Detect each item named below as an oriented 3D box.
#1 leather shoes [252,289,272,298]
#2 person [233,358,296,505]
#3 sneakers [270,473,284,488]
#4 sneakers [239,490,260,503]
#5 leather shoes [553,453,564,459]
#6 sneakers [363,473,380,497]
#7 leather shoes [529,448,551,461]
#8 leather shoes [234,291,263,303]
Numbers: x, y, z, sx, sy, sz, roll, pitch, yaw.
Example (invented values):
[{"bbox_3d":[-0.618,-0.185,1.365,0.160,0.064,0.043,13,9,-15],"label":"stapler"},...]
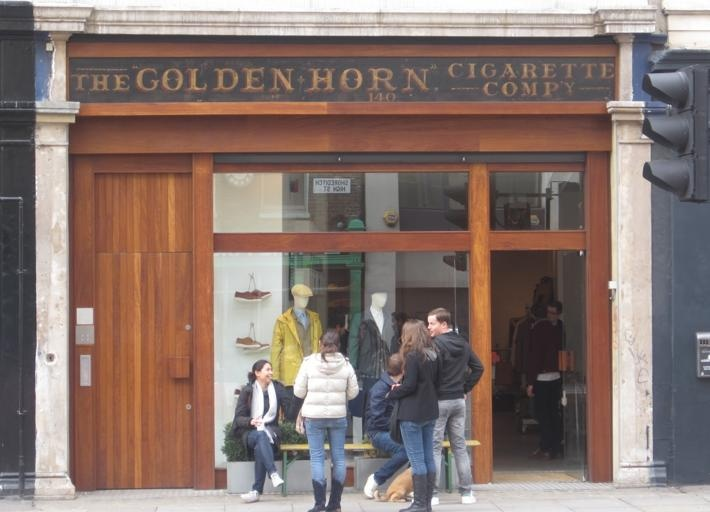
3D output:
[{"bbox_3d":[-1.252,0.481,24.575,0.289,0.103,0.094,-3,-1,-8],"label":"leather shoes"},{"bbox_3d":[-1.264,2.209,23.631,0.596,1.787,0.444,-1,-5,-4],"label":"person"},{"bbox_3d":[-1.014,2.814,23.517,0.111,0.106,0.253,-36,-3,-18],"label":"sneakers"},{"bbox_3d":[-1.344,3.017,23.487,0.266,0.106,0.114,0,-40,-8],"label":"sneakers"},{"bbox_3d":[2.820,2.716,25.409,0.142,0.084,0.096,-9,-12,32],"label":"leather shoes"},{"bbox_3d":[0.212,2.900,23.661,0.135,0.297,0.147,-7,-9,27],"label":"sneakers"},{"bbox_3d":[2.595,2.712,25.539,0.152,0.152,0.331,1,-6,-28],"label":"leather shoes"},{"bbox_3d":[-1.416,0.523,24.484,0.397,0.153,0.127,-3,-1,-6],"label":"leather shoes"}]
